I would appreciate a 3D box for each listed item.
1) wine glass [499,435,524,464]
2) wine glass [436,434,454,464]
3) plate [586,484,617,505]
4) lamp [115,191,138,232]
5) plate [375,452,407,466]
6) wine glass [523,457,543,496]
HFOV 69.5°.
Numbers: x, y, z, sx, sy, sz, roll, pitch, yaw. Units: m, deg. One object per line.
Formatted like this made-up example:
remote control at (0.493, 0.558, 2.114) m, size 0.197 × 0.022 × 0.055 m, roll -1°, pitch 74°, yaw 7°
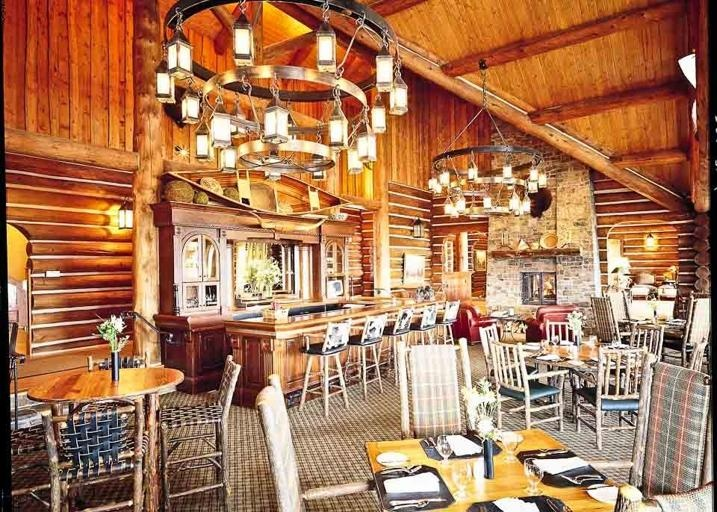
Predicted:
wine glass at (1.309, 1.637, 4.493) m, size 0.239 × 0.280 × 0.242 m, roll -2°, pitch -12°, yaw 10°
wine glass at (0.743, 1.632, 4.444) m, size 0.126 × 0.186 × 0.319 m, roll -1°, pitch -2°, yaw 10°
plate at (1.882, 1.807, 3.969) m, size 0.183 × 0.027 × 0.180 m, roll -5°, pitch 6°, yaw -20°
lamp at (-4.297, -0.807, 9.562) m, size 0.229 × 0.589 × 0.693 m, roll 0°, pitch -2°, yaw -29°
plate at (0.288, 1.730, 4.438) m, size 0.272 × 0.058 × 0.185 m, roll -1°, pitch -2°, yaw -1°
wine glass at (1.381, 1.714, 4.077) m, size 0.125 × 0.236 × 0.178 m, roll -2°, pitch -2°, yaw 19°
